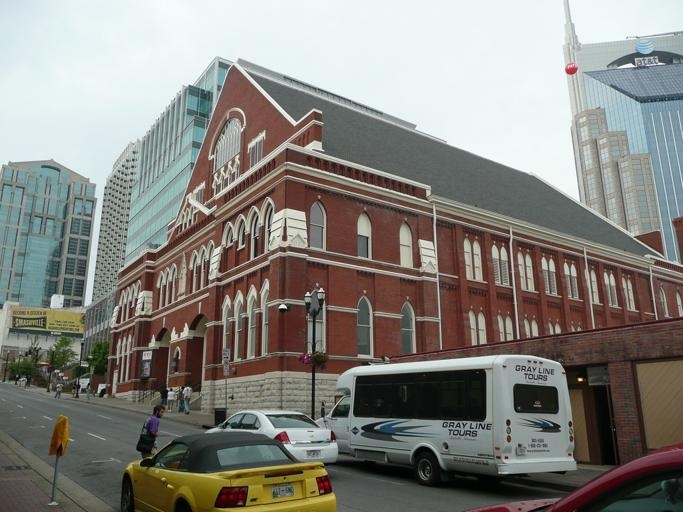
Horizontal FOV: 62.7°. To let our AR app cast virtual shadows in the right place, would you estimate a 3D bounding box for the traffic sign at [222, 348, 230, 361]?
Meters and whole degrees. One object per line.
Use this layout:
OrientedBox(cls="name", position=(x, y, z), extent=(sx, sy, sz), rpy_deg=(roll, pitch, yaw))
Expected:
OrientedBox(cls="traffic sign", position=(-5.877, 5.021, 28.434), extent=(0.218, 0.653, 0.515), rpy_deg=(-2, -18, 7))
